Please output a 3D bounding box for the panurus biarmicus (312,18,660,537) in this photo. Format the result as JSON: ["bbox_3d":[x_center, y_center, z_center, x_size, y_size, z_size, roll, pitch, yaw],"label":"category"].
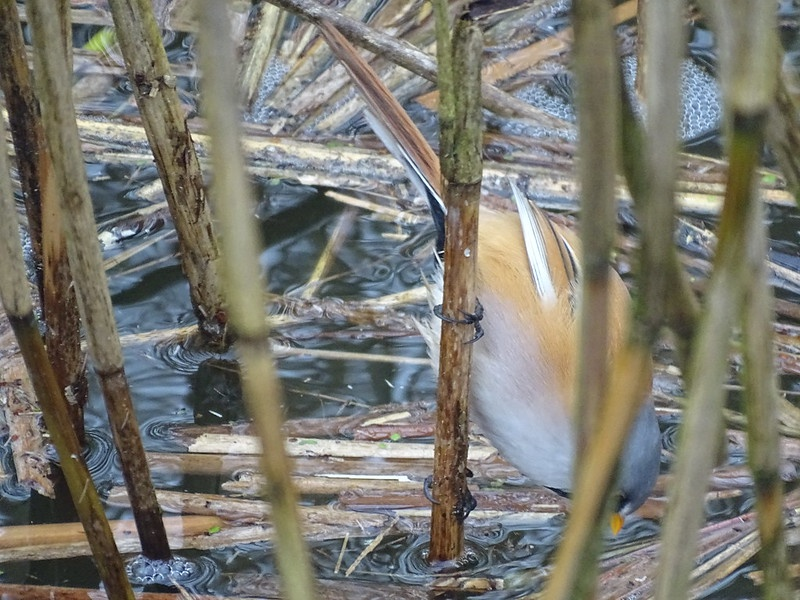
[{"bbox_3d":[0.351,0.039,3.208,0.714,1.457,1.220,-4,-2,36],"label":"panurus biarmicus"}]
